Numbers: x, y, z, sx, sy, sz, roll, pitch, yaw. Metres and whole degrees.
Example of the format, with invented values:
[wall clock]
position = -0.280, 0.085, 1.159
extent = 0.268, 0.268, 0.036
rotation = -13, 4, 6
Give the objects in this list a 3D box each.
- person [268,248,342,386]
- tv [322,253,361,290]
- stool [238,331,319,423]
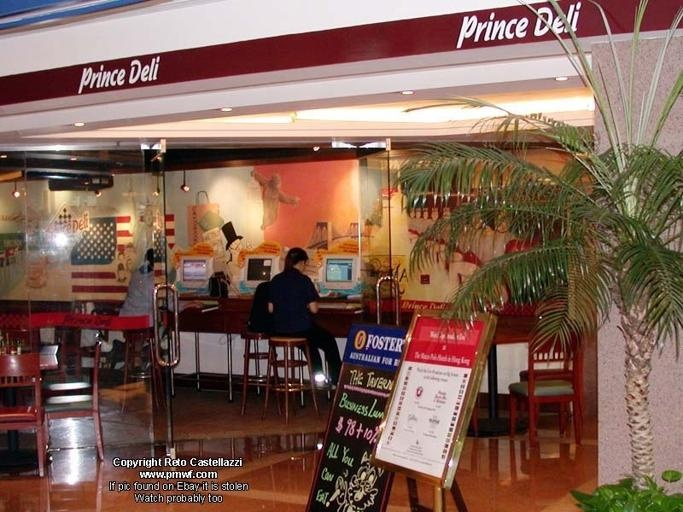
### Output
[person]
position = -0.438, 0.737, 7.037
extent = 0.765, 1.584, 0.439
rotation = -1, 0, -43
[tv]
position = 0.023, 0.205, 8.321
extent = 0.699, 0.674, 0.393
rotation = 1, -1, 21
[stool]
position = -0.834, 1.462, 7.493
extent = 1.005, 1.377, 1.009
rotation = -2, -3, 43
